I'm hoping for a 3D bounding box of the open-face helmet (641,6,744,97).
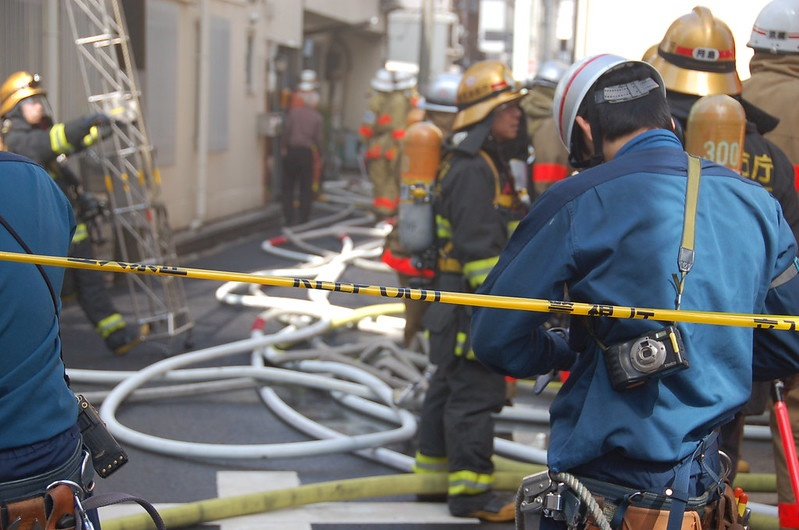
[{"bbox_3d":[1.882,-1.370,7.883,0.527,0.371,0.628,1,25,-11],"label":"open-face helmet"}]

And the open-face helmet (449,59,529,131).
[{"bbox_3d":[0.584,-1.179,8.281,0.582,0.385,0.605,-23,16,-37],"label":"open-face helmet"}]
